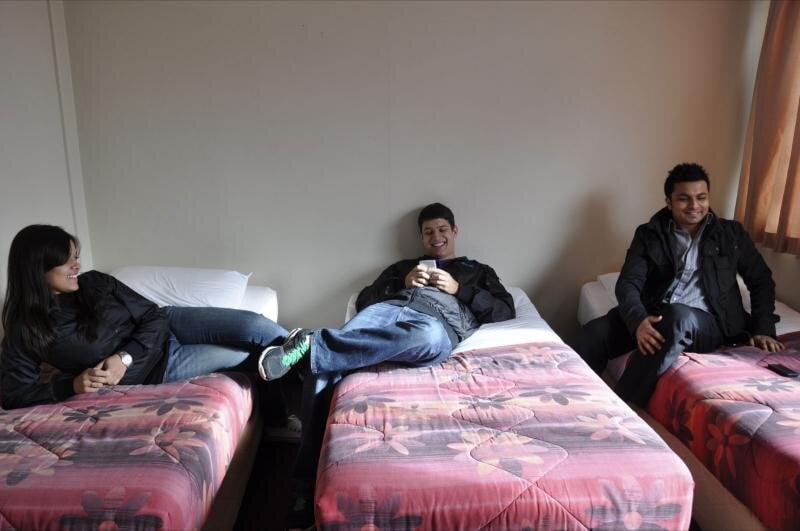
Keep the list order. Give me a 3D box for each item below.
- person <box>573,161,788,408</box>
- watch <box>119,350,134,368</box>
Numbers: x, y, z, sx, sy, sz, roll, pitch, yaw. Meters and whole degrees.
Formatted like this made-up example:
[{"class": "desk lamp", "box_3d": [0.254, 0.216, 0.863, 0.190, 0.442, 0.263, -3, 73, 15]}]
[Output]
[{"class": "person", "box_3d": [1.549, 0.182, 2.823, 1.139, 1.477, 0.760, 3, 5, 2]}, {"class": "watch", "box_3d": [-1.344, 0.453, 2.330, 0.075, 0.071, 0.047, 23, 13, -43]}]
